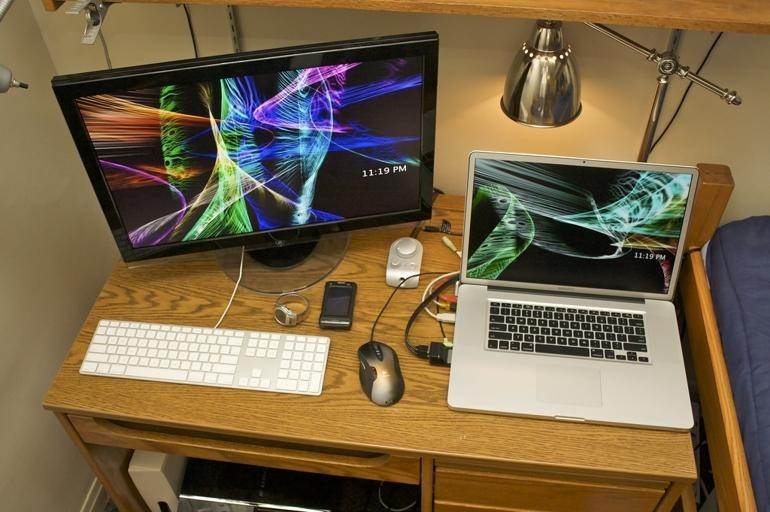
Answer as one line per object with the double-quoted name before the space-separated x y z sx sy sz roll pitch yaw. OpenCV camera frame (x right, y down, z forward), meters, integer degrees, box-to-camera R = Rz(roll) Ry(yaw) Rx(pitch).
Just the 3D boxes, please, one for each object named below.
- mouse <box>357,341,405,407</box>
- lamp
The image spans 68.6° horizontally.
"mouse" -0.005 0.297 1.407 0.106 0.040 0.146 -6 61 -16
"lamp" 0.587 -0.434 1.507 0.527 0.394 0.312 8 36 8
